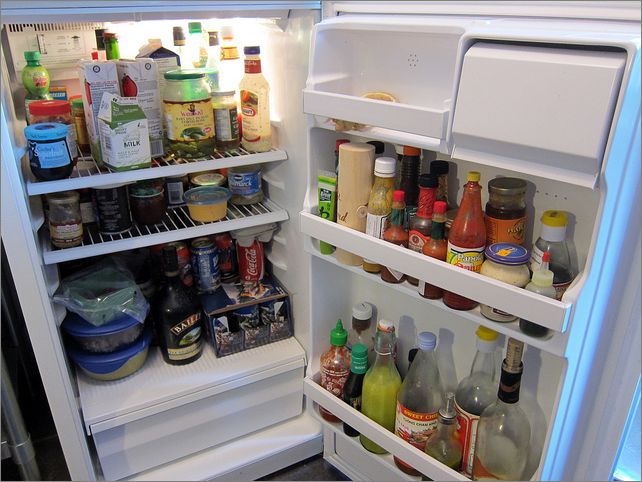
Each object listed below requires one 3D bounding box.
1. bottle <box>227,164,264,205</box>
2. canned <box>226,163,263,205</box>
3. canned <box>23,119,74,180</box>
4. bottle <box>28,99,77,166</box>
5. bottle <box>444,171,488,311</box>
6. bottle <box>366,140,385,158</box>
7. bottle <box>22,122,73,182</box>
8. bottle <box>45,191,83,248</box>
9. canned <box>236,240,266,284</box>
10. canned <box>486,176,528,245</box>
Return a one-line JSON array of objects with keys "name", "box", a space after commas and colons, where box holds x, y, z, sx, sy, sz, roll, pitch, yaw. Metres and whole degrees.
[{"name": "bottle", "box": [-0.276, -0.225, 1.863, 0.137, 0.150, 0.138, -11, 22, -23]}, {"name": "canned", "box": [-0.280, -0.217, 1.797, 0.136, 0.150, 0.138, -5, 20, -10]}, {"name": "canned", "box": [-0.754, -0.275, 1.389, 0.141, 0.160, 0.152, -4, 25, -16]}, {"name": "bottle", "box": [-0.836, -0.329, 1.458, 0.126, 0.199, 0.127, 4, 24, -2]}, {"name": "bottle", "box": [0.335, -0.042, 1.067, 0.086, 0.211, 0.096, 7, 24, 20]}, {"name": "bottle", "box": [0.143, -0.251, 1.303, 0.048, 0.048, 0.049, 21, 36, 32]}, {"name": "bottle", "box": [-0.804, -0.258, 1.391, 0.132, 0.149, 0.139, 3, 22, -2]}, {"name": "bottle", "box": [-0.813, -0.067, 1.489, 0.096, 0.162, 0.095, 4, 18, -1]}, {"name": "canned", "box": [-0.280, 0.081, 1.852, 0.103, 0.177, 0.102, -17, 28, -34]}, {"name": "canned", "box": [0.427, -0.065, 1.085, 0.080, 0.151, 0.077, -12, 25, -24]}]
